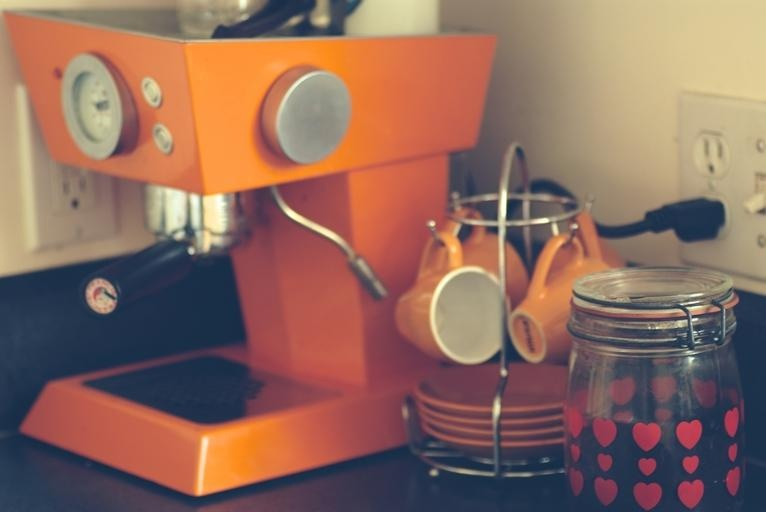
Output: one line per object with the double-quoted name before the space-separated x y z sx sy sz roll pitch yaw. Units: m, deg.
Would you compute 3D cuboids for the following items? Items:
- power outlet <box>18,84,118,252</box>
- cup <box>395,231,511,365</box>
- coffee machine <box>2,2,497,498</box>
"power outlet" -0.402 -0.111 0.946 0.075 0.184 0.106 -16 22 -42
"cup" 0.067 0.040 0.811 0.106 0.135 0.158 -9 20 -23
"coffee machine" -0.180 -0.032 0.851 0.520 0.503 0.346 7 20 22
